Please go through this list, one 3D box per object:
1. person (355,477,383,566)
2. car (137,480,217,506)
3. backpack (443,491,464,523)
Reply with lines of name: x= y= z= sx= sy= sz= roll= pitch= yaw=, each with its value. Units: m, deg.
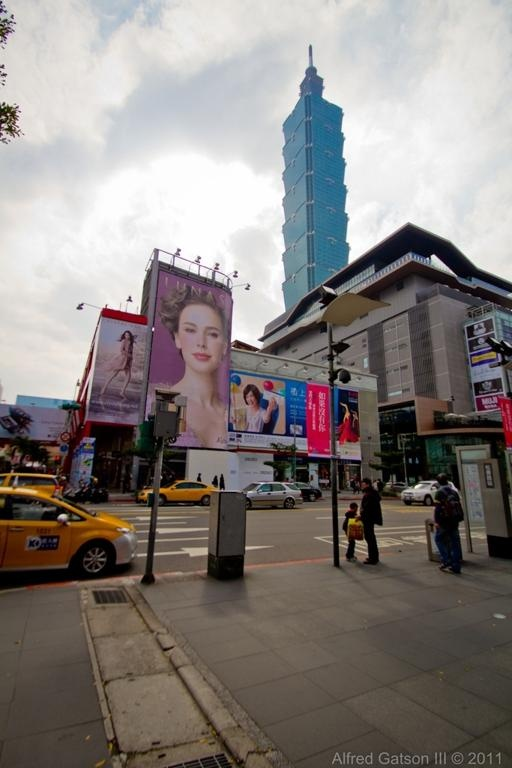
person: x=2.313 y=2.766 z=9.222 sx=0.400 sy=1.630 sz=1.303 roll=-1 pitch=-12 yaw=14
car: x=-3.638 y=5.500 z=22.817 sx=2.597 sy=1.166 sz=1.027 roll=6 pitch=-12 yaw=-22
backpack: x=3.662 y=2.272 z=8.375 sx=0.232 sy=0.569 sz=0.467 roll=-7 pitch=-14 yaw=37
